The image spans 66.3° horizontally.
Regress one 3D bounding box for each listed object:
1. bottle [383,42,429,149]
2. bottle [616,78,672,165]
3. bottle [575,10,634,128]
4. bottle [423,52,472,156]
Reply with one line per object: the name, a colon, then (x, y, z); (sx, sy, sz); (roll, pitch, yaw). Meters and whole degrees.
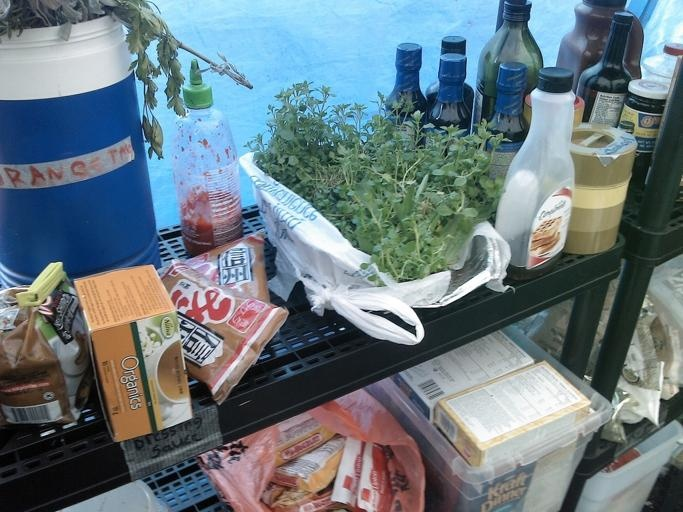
bottle: (0.133, -0.329, 1.064); (0.087, 0.185, 0.175); (1, 33, 4)
bottle: (0.594, -0.264, 1.037); (0.075, 0.141, 0.035); (14, 37, 22)
bottle: (0.520, -0.353, 1.015); (0.096, 0.209, 0.170); (11, 35, 19)
bottle: (0.206, -0.281, 1.013); (0.092, 0.189, 0.258); (7, 33, 12)
